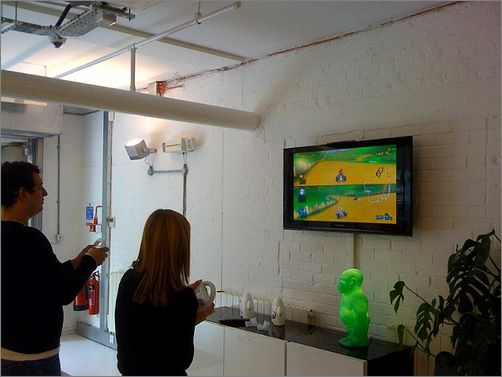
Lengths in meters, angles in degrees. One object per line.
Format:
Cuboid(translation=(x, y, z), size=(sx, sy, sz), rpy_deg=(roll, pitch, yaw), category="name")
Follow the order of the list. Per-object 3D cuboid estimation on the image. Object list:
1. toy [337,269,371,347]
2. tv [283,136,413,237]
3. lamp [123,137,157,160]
Cuboid(translation=(0.844, 0.975, 3.248), size=(0.258, 0.615, 0.176), rpy_deg=(2, -3, 9), category="toy")
Cuboid(translation=(0.872, -0.014, 3.450), size=(0.898, 0.624, 0.043), rpy_deg=(-3, -4, 42), category="tv")
Cuboid(translation=(-1.494, -0.531, 5.382), size=(0.254, 0.189, 0.361), rpy_deg=(-3, 7, 35), category="lamp")
